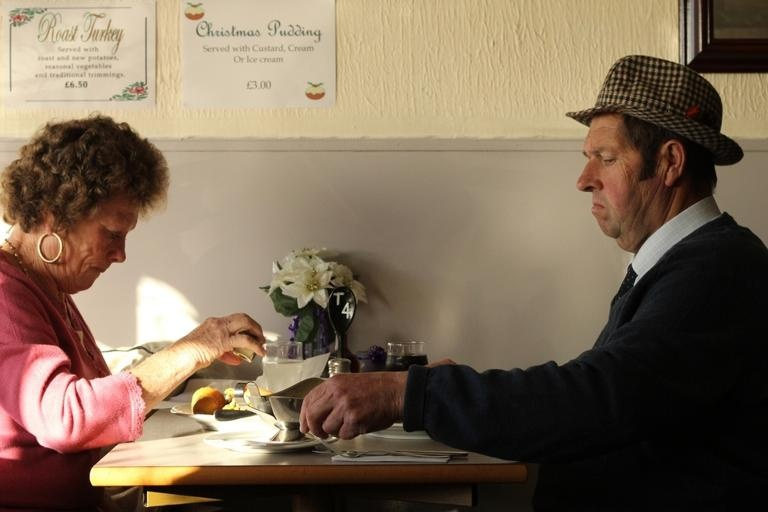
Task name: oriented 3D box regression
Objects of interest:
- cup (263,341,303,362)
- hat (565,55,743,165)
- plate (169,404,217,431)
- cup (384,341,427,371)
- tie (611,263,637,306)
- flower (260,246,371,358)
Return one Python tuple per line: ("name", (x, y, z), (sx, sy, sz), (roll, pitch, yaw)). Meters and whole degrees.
("cup", (-0.260, 0.249, 1.909), (0.063, 0.035, 0.061), (0, -1, 0))
("hat", (0.669, -0.302, 1.754), (0.311, 0.116, 0.254), (24, -6, -11))
("plate", (-0.493, 0.411, 1.913), (0.087, 0.022, 0.084), (6, -1, -34))
("cup", (0.062, 0.270, 2.078), (0.102, 0.072, 0.099), (0, -1, 0))
("tie", (0.609, 0.074, 1.866), (0.033, 0.097, 0.076), (5, 10, 41))
("flower", (-0.248, 0.127, 2.406), (0.347, 0.332, 0.353), (-2, 3, 35))
